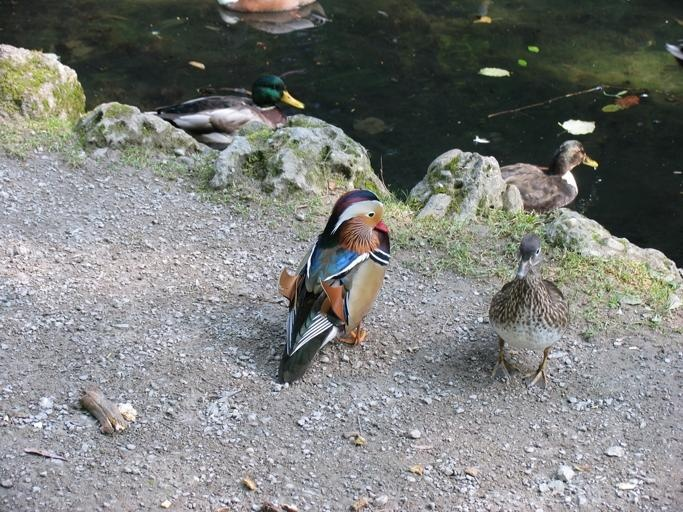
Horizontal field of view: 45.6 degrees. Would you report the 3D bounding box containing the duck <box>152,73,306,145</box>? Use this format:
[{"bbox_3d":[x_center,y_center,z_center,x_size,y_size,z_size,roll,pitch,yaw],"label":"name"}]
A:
[{"bbox_3d":[-1.723,-2.015,12.083,2.062,1.403,0.967,3,20,-1],"label":"duck"}]

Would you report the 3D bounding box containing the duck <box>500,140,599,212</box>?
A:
[{"bbox_3d":[2.900,-1.030,11.253,1.573,1.041,0.694,-14,43,-25],"label":"duck"}]

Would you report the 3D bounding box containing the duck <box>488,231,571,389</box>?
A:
[{"bbox_3d":[1.675,0.371,7.764,0.785,1.435,1.285,5,20,15],"label":"duck"}]

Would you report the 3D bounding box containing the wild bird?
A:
[{"bbox_3d":[-0.132,0.309,7.545,0.747,1.445,1.359,31,48,22],"label":"wild bird"}]
